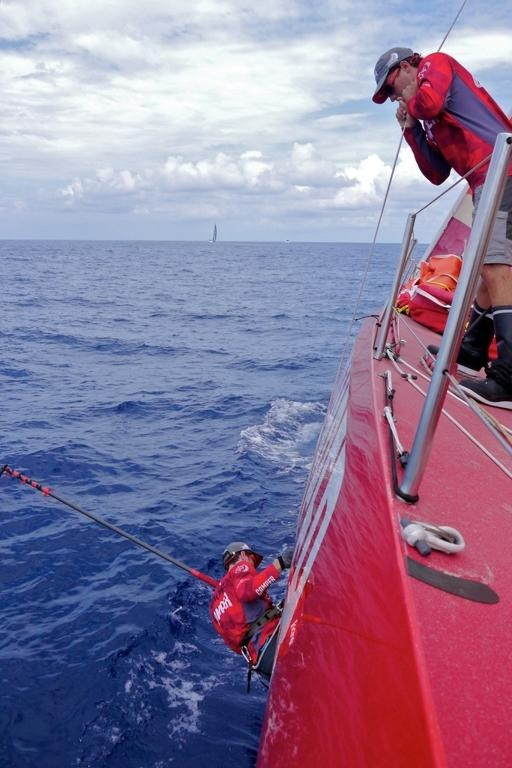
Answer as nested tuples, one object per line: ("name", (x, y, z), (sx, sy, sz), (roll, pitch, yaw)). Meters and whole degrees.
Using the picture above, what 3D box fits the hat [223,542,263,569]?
("hat", (-0.109, 1.258, 4.308), (0.267, 0.195, 0.139), (24, 27, -44))
